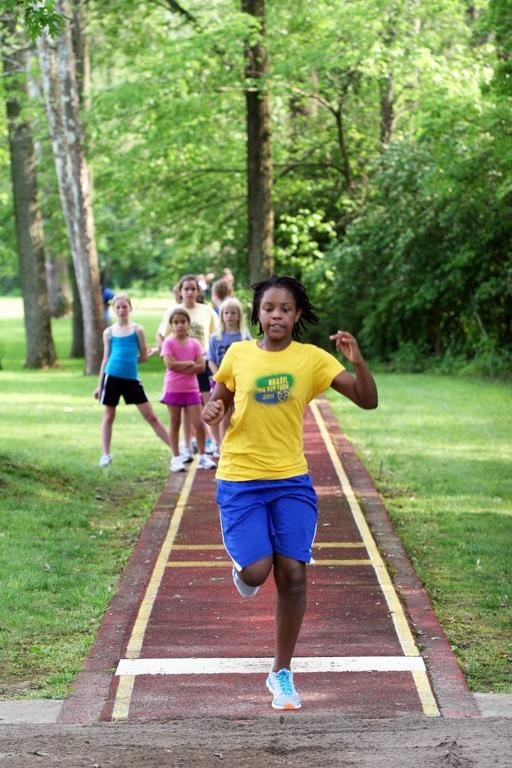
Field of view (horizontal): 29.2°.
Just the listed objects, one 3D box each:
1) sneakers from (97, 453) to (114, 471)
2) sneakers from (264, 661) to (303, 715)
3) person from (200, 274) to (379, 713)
[{"bbox_3d":[-1.499,0.781,9.769,0.178,0.189,0.478,1,-2,0],"label":"sneakers"},{"bbox_3d":[0.118,1.329,4.270,0.102,0.088,0.220,-4,16,-11],"label":"sneakers"},{"bbox_3d":[0.131,0.588,4.316,0.765,1.641,0.437,1,8,7],"label":"person"}]
